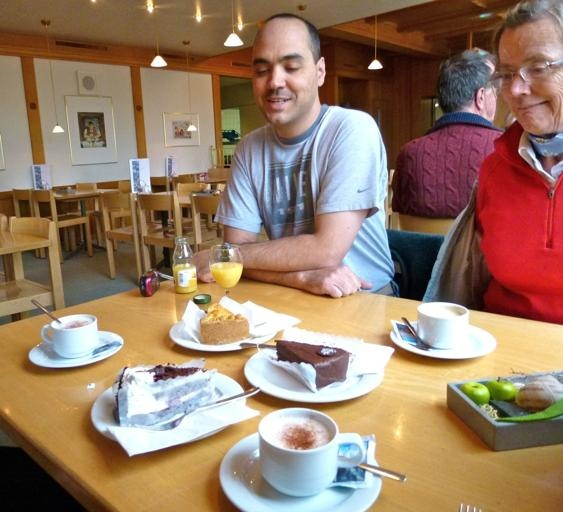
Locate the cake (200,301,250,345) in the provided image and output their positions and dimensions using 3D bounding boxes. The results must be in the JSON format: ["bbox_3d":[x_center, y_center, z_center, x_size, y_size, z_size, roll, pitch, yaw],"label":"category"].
[{"bbox_3d":[-0.138,0.159,1.135,0.092,0.064,0.089,-3,8,-30],"label":"cake"}]

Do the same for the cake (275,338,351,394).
[{"bbox_3d":[0.058,0.216,0.947,0.076,0.047,0.130,-4,13,-41],"label":"cake"}]

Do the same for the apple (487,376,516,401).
[{"bbox_3d":[0.395,0.240,0.844,0.044,0.042,0.042,-14,-17,35],"label":"apple"}]

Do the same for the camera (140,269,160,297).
[{"bbox_3d":[-0.440,0.093,1.552,0.050,0.082,0.090,-1,11,11],"label":"camera"}]

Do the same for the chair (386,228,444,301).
[{"bbox_3d":[0.528,0.028,1.896,0.243,0.324,0.266,6,9,44],"label":"chair"}]

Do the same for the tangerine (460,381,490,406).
[{"bbox_3d":[0.347,0.250,0.838,0.052,0.033,0.050,1,13,23],"label":"tangerine"}]

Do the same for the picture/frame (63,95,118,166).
[{"bbox_3d":[-3.361,-2.203,8.086,0.049,1.405,1.125,13,23,37],"label":"picture/frame"}]

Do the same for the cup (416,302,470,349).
[{"bbox_3d":[0.373,0.152,1.068,0.103,0.079,0.111,2,8,0],"label":"cup"}]

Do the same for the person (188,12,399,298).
[{"bbox_3d":[0.010,-0.344,1.758,0.709,1.088,0.652,3,15,28],"label":"person"}]

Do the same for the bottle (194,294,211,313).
[{"bbox_3d":[-0.237,0.136,1.382,0.046,0.026,0.044,3,8,0],"label":"bottle"}]

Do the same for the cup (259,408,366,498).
[{"bbox_3d":[0.039,0.238,0.648,0.150,0.084,0.107,1,5,2],"label":"cup"}]

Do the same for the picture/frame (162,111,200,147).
[{"bbox_3d":[-2.088,-2.574,9.459,0.027,0.577,0.810,11,18,40],"label":"picture/frame"}]

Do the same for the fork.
[{"bbox_3d":[-0.157,0.270,0.816,0.225,0.032,0.038,-10,9,-23],"label":"fork"}]

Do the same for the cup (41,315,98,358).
[{"bbox_3d":[-0.486,0.184,1.094,0.125,0.078,0.090,0,7,1],"label":"cup"}]

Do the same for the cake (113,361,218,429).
[{"bbox_3d":[-0.222,0.236,0.833,0.131,0.047,0.100,-8,14,-37],"label":"cake"}]

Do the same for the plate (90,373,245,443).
[{"bbox_3d":[-0.216,0.276,0.836,0.154,0.019,0.149,-3,16,-23],"label":"plate"}]
